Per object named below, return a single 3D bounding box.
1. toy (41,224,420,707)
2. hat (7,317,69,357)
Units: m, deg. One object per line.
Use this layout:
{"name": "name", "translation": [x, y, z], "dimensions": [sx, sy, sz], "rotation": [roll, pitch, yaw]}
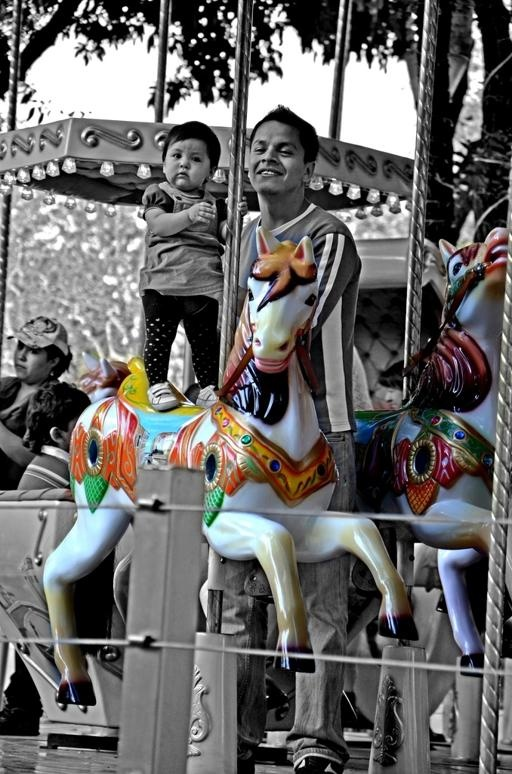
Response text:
{"name": "toy", "translation": [-0.095, 0.270, 2.328], "dimensions": [0.406, 1.087, 1.129], "rotation": [3, -1, -36]}
{"name": "hat", "translation": [-0.837, -0.170, 3.652], "dimensions": [0.145, 0.104, 0.192], "rotation": [18, -8, 38]}
